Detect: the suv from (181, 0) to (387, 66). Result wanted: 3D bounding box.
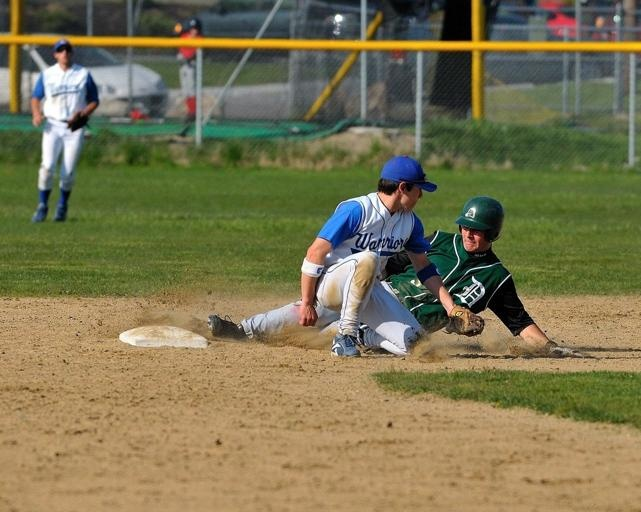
[{"bbox_3d":[-0.939,-3.522,23.918,4.048,1.299,1.211,-1,11,5],"label":"suv"}]

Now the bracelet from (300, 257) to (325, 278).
[{"bbox_3d":[-0.089,0.088,12.803,0.171,0.120,0.170,4,4,9],"label":"bracelet"}]

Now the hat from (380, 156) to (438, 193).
[{"bbox_3d":[0.771,-0.744,12.818,0.425,0.226,0.272,6,18,-7],"label":"hat"}]

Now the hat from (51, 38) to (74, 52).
[{"bbox_3d":[-3.103,-2.515,17.461,0.179,0.130,0.254,-2,-8,-7],"label":"hat"}]

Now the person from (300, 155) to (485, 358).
[{"bbox_3d":[0.545,0.003,12.917,1.423,1.790,0.464,3,5,-2],"label":"person"}]

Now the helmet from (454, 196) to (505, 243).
[{"bbox_3d":[1.409,-0.386,13.066,0.454,0.327,0.322,-24,39,-38],"label":"helmet"}]

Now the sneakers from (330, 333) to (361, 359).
[{"bbox_3d":[0.230,0.789,13.009,0.120,0.145,0.341,5,-6,-29],"label":"sneakers"}]

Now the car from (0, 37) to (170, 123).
[{"bbox_3d":[-3.397,-2.460,20.726,2.685,0.877,1.375,5,11,18],"label":"car"}]

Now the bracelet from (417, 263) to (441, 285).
[{"bbox_3d":[0.938,0.142,13.052,0.175,0.119,0.171,-24,2,-33],"label":"bracelet"}]

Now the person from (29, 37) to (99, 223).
[{"bbox_3d":[-3.093,-1.479,17.410,0.797,2.173,0.681,3,5,-7],"label":"person"}]

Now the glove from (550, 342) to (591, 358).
[{"bbox_3d":[2.256,0.822,13.168,0.431,0.166,0.134,1,4,7],"label":"glove"}]

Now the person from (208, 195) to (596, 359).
[{"bbox_3d":[0.683,0.147,13.488,3.379,1.376,1.025,-1,-2,22],"label":"person"}]
